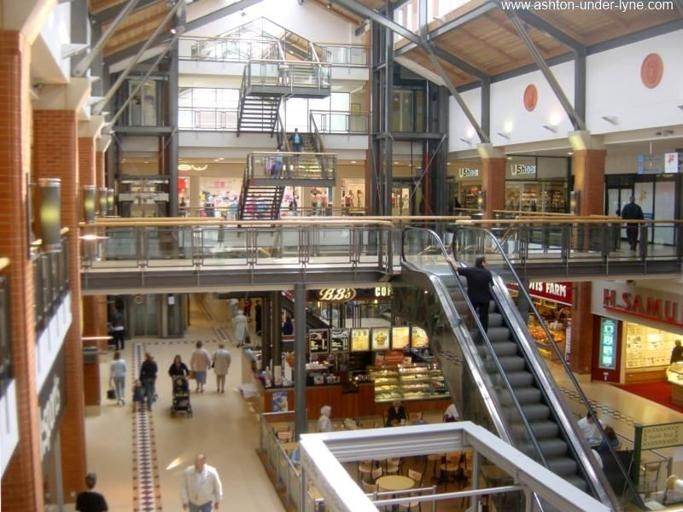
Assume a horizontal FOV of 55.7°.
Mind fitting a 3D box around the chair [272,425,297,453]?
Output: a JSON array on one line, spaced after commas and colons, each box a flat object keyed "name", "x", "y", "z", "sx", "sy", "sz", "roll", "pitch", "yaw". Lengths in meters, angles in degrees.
[{"name": "chair", "x": -1.419, "y": 4.497, "z": 16.024, "sx": 0.531, "sy": 0.891, "sz": 0.588, "roll": 1, "pitch": -3, "yaw": -21}]

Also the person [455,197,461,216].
[{"name": "person", "x": 5.563, "y": -2.363, "z": 30.805, "sx": 0.348, "sy": 0.783, "sz": 1.353, "roll": 1, "pitch": 7, "yaw": 9}]

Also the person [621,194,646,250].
[{"name": "person", "x": 8.091, "y": -0.903, "z": 18.011, "sx": 0.508, "sy": 1.424, "sz": 1.344, "roll": 3, "pitch": 7, "yaw": 24}]

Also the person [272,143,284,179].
[{"name": "person", "x": -2.215, "y": -3.180, "z": 22.626, "sx": 0.256, "sy": 0.887, "sz": 0.421, "roll": 5, "pitch": 7, "yaw": 39}]

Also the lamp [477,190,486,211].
[{"name": "lamp", "x": 5.456, "y": -2.132, "z": 25.008, "sx": 0.214, "sy": 0.798, "sz": 0.314, "roll": -1, "pitch": 6, "yaw": -13}]

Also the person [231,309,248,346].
[{"name": "person", "x": -4.024, "y": 2.893, "z": 25.921, "sx": 0.608, "sy": 1.457, "sz": 0.611, "roll": 2, "pitch": 8, "yaw": 8}]

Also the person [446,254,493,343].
[{"name": "person", "x": 2.501, "y": 0.694, "z": 12.702, "sx": 0.926, "sy": 1.743, "sz": 0.616, "roll": 4, "pitch": 24, "yaw": 13}]

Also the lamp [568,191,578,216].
[{"name": "lamp", "x": 7.504, "y": -1.696, "z": 20.758, "sx": 0.209, "sy": 0.737, "sz": 0.766, "roll": 2, "pitch": 6, "yaw": 15}]

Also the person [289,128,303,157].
[{"name": "person", "x": -1.915, "y": -4.816, "z": 27.036, "sx": 0.457, "sy": 0.908, "sz": 1.143, "roll": 2, "pitch": 7, "yaw": 18}]

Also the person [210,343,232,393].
[{"name": "person", "x": -3.840, "y": 3.490, "z": 20.638, "sx": 0.499, "sy": 1.615, "sz": 1.149, "roll": -1, "pitch": 6, "yaw": -10}]
